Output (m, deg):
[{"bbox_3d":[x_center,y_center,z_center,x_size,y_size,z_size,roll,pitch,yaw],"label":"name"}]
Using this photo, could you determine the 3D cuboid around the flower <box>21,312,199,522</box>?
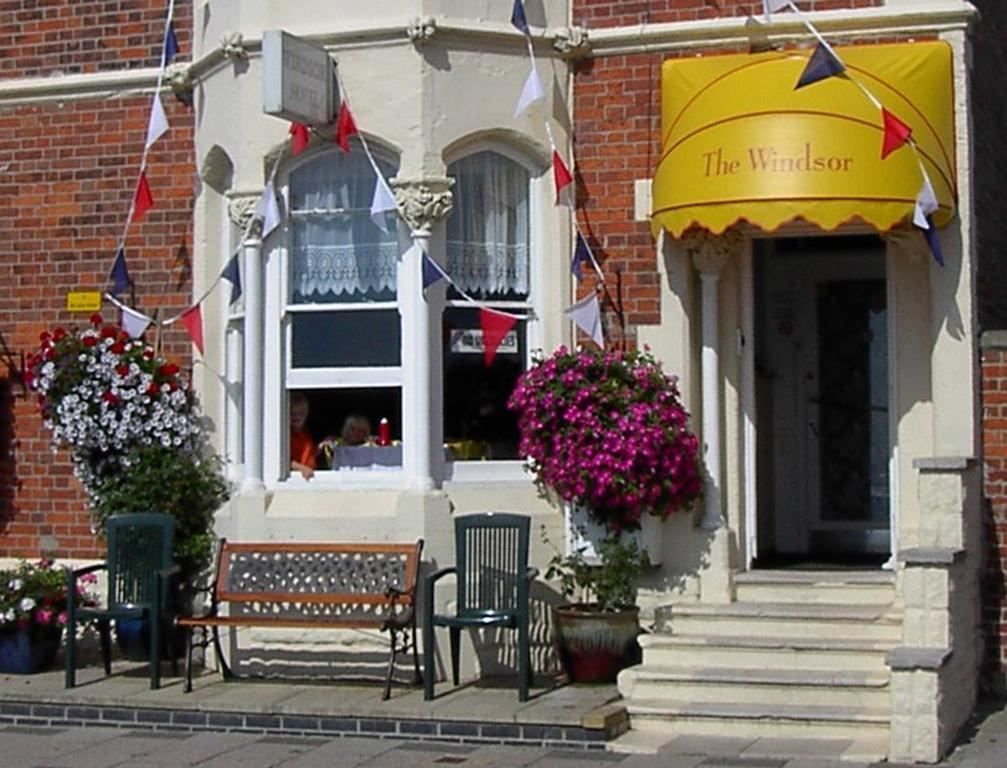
[{"bbox_3d":[-3.617,0.313,19.653,1.385,1.713,1.056,-2,-3,-9],"label":"flower"}]

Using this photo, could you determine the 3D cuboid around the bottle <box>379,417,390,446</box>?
[{"bbox_3d":[-1.040,0.400,18.304,0.116,0.239,0.046,-2,-5,-1],"label":"bottle"}]

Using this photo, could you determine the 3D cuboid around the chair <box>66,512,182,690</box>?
[{"bbox_3d":[-3.277,1.923,18.328,0.909,2.070,0.849,-2,-12,3],"label":"chair"}]

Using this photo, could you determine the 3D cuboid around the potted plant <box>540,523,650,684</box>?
[{"bbox_3d":[0.809,1.906,17.968,0.848,1.251,0.808,-4,-6,23],"label":"potted plant"}]

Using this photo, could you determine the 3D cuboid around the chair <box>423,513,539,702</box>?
[{"bbox_3d":[-0.215,1.843,17.537,0.911,1.551,1.009,-2,-5,-2],"label":"chair"}]
